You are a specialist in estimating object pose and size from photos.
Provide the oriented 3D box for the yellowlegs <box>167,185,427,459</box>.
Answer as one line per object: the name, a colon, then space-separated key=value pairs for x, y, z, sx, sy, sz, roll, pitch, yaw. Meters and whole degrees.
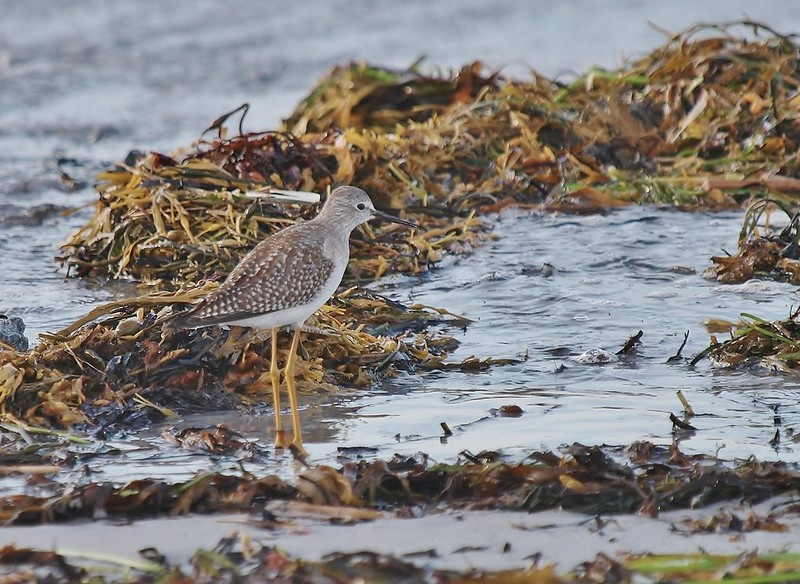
yellowlegs: x=-0.729 y=0.090 z=5.636 sx=0.767 sy=1.292 sz=1.096 roll=-4 pitch=-1 yaw=22
